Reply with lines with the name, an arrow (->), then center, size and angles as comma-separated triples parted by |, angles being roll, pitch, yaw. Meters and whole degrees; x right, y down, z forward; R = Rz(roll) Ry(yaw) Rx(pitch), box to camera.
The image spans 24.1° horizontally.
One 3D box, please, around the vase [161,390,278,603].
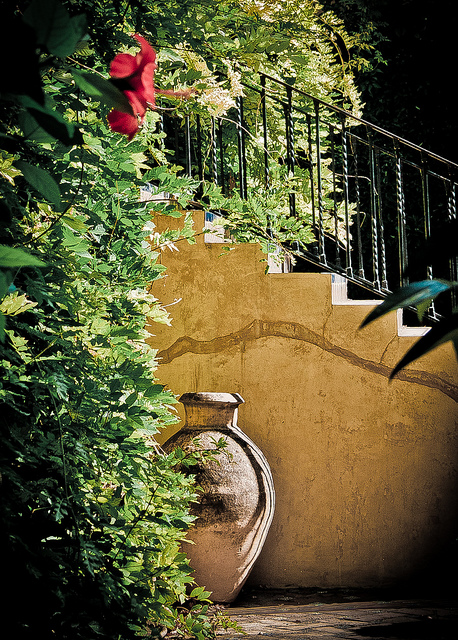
vase -> -0.100, 0.745, 4.508 | 0.623, 0.818, 0.573 | -2, -14, -5
